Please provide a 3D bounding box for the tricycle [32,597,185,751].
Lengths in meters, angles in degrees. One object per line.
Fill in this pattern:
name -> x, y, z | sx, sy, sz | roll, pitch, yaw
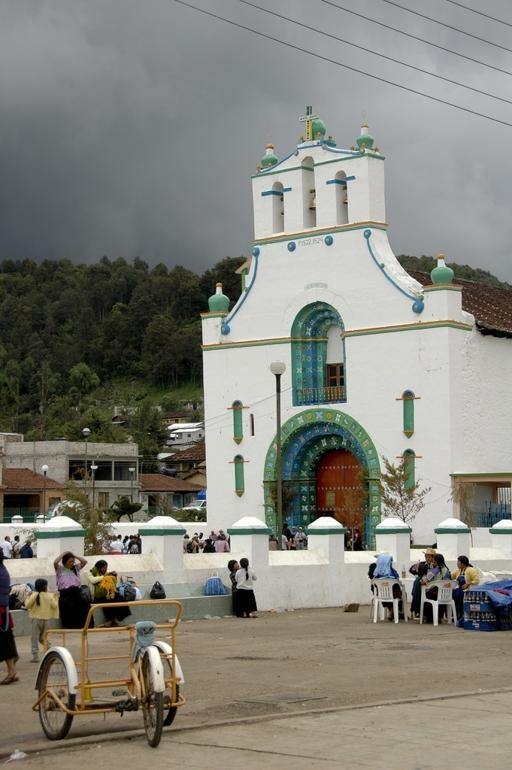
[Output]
tricycle -> -1.134, 2.455, 11.967 | 1.162, 1.242, 1.781 | 1, -8, -28

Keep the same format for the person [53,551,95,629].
person -> -2.356, 2.623, 17.782 | 0.374, 0.994, 0.464 | -3, -2, -22

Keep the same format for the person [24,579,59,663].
person -> -2.608, 2.840, 16.997 | 0.382, 0.972, 0.358 | 1, 6, -13

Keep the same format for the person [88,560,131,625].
person -> -2.030, 2.897, 19.268 | 0.513, 0.962, 0.380 | -10, 0, 33
